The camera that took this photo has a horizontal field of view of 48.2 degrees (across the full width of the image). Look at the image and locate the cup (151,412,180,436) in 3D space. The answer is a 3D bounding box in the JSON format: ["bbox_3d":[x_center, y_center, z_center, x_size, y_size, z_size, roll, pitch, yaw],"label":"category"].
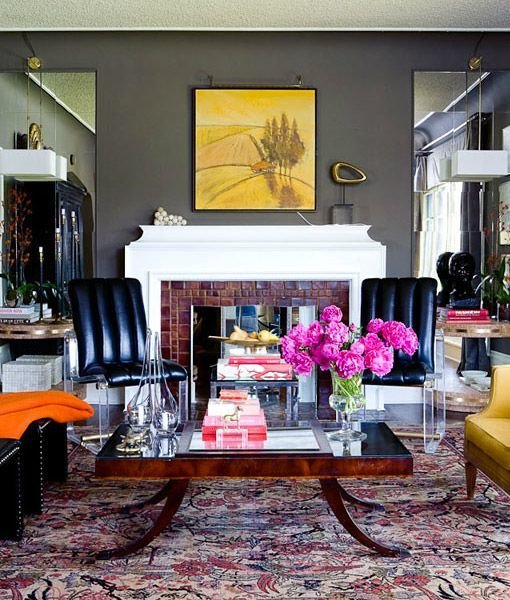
[{"bbox_3d":[-0.316,0.438,2.016,0.083,0.061,0.075,2,-5,-6],"label":"cup"}]

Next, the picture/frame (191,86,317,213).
[{"bbox_3d":[-0.027,-1.112,4.112,0.899,0.864,0.037,0,1,-6],"label":"picture/frame"}]

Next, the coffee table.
[{"bbox_3d":[-0.013,0.652,1.942,1.026,0.391,0.460,0,2,-2],"label":"coffee table"}]

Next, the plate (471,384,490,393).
[{"bbox_3d":[1.546,0.604,3.900,0.155,0.036,0.156,1,2,14],"label":"plate"}]

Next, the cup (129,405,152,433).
[{"bbox_3d":[-0.401,0.412,1.997,0.085,0.095,0.084,0,2,0],"label":"cup"}]

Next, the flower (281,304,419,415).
[{"bbox_3d":[0.323,0.156,2.106,0.425,0.362,0.403,-7,9,-34],"label":"flower"}]

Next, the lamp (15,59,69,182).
[{"bbox_3d":[-1.513,-1.275,3.975,0.343,0.861,0.361,0,2,-7],"label":"lamp"}]

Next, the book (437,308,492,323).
[{"bbox_3d":[1.399,0.111,3.885,0.355,0.092,0.253,1,2,31],"label":"book"}]

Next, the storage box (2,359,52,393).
[{"bbox_3d":[-1.503,0.505,3.737,0.269,0.164,0.264,1,0,-6],"label":"storage box"}]
